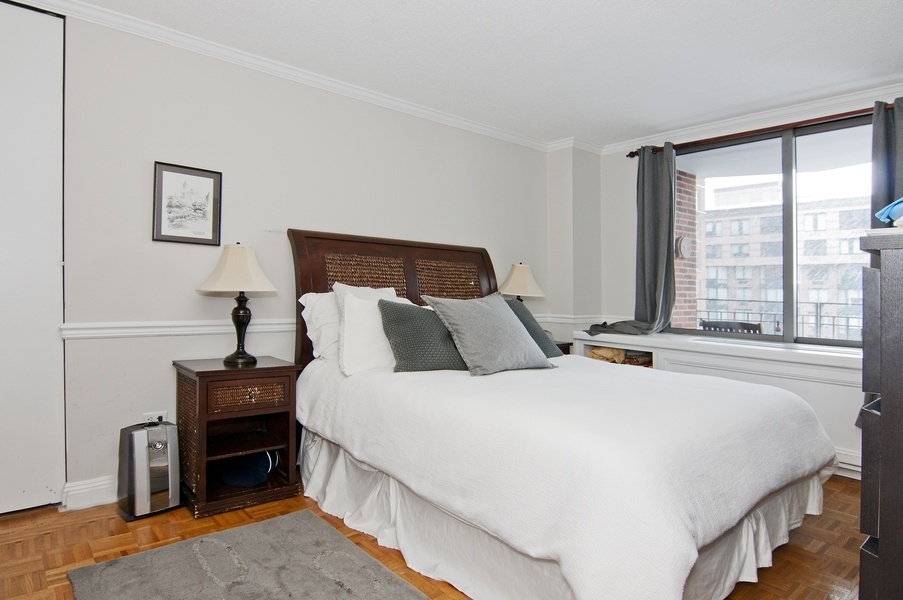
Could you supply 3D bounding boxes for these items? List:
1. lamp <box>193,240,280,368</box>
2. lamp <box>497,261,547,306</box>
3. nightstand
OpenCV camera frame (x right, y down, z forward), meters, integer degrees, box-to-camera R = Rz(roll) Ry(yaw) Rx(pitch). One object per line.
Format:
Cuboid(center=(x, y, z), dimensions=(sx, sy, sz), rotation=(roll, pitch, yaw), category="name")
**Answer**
Cuboid(center=(-1.562, 0.017, 4.112), dimensions=(0.513, 0.863, 0.625), rotation=(-2, 6, -24), category="lamp")
Cuboid(center=(0.707, -0.127, 5.834), dimensions=(0.485, 0.482, 0.493), rotation=(-2, 12, -20), category="lamp")
Cuboid(center=(-1.572, 0.939, 4.144), dimensions=(0.804, 0.938, 0.713), rotation=(1, 2, -27), category="nightstand")
